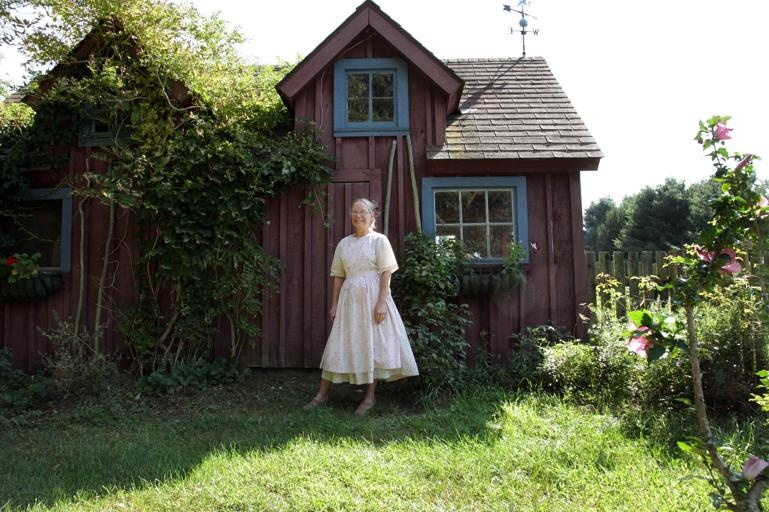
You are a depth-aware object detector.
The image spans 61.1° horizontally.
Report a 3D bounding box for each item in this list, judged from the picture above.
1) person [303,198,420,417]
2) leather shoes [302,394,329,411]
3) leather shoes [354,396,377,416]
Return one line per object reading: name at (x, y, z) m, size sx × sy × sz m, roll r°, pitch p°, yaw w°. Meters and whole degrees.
person at (-0.287, 0.587, 7.948) m, size 1.183 × 2.492 × 0.678 m, roll -4°, pitch 8°, yaw -8°
leather shoes at (-0.870, 1.807, 8.028) m, size 0.307 × 0.295 × 0.121 m, roll 3°, pitch -13°, yaw -8°
leather shoes at (-0.260, 1.806, 7.853) m, size 0.174 × 0.136 × 0.362 m, roll 2°, pitch 11°, yaw 28°
